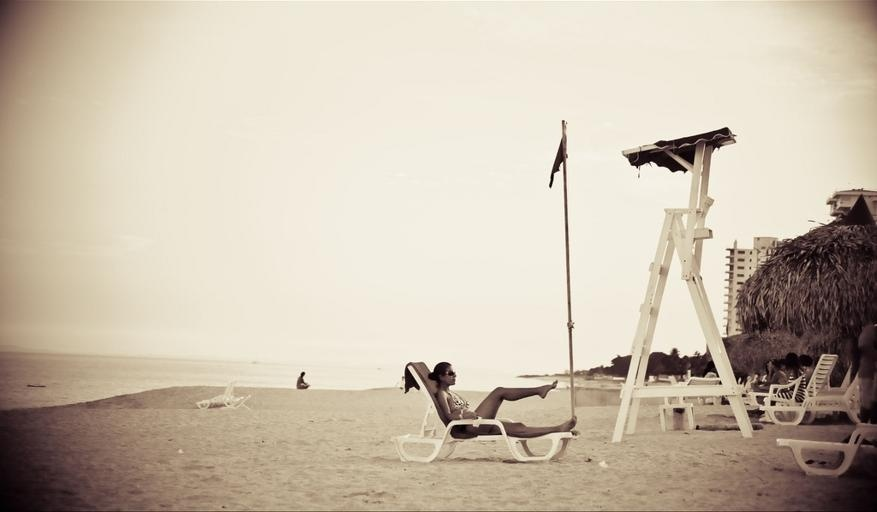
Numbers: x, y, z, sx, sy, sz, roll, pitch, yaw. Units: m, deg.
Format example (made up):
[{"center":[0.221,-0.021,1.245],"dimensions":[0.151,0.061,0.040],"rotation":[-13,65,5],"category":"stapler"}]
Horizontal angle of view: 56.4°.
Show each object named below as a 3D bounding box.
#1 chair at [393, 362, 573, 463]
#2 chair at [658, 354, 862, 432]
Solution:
[{"center":[0.928,3.832,19.709],"dimensions":[4.574,2.317,2.026],"rotation":[-1,-6,4],"category":"chair"},{"center":[8.914,3.917,22.457],"dimensions":[4.548,1.375,2.520],"rotation":[-3,-9,16],"category":"chair"}]
